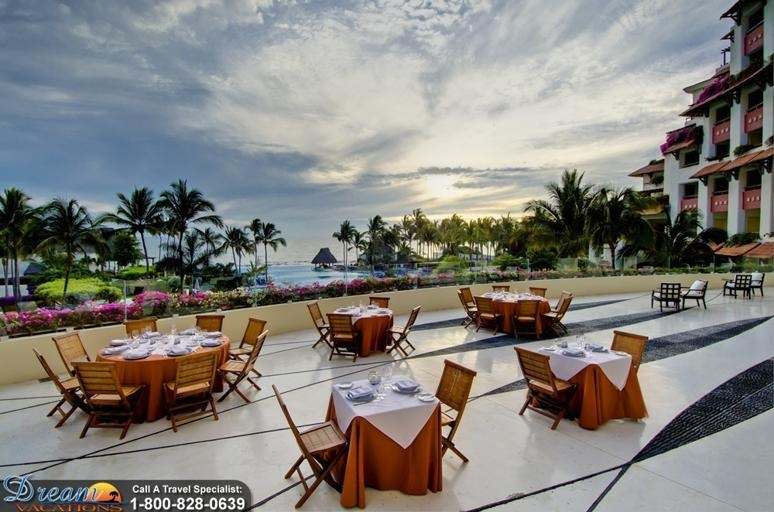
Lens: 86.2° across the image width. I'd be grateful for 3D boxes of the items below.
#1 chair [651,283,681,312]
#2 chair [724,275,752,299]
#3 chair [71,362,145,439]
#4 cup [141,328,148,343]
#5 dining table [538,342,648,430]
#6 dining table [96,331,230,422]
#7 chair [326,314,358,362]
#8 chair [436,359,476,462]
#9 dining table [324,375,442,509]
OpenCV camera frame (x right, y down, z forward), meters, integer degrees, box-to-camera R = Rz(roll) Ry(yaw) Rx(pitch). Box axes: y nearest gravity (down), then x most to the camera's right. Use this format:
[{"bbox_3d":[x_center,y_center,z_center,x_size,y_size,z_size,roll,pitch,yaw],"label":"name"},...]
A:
[{"bbox_3d":[12.580,1.922,18.649,1.196,1.493,1.121,0,3,17],"label":"chair"},{"bbox_3d":[17.706,1.620,20.863,1.120,1.263,0.993,-1,6,14],"label":"chair"},{"bbox_3d":[-6.766,3.437,10.004,1.371,1.863,0.631,0,14,1],"label":"chair"},{"bbox_3d":[-6.870,2.270,11.705,0.192,0.289,0.197,-1,-7,0],"label":"cup"},{"bbox_3d":[5.186,3.310,10.366,1.867,1.406,2.036,-8,8,-29],"label":"dining table"},{"bbox_3d":[-5.664,3.059,10.815,2.251,1.109,2.189,4,3,-7],"label":"dining table"},{"bbox_3d":[-1.414,2.569,13.219,0.934,1.417,0.798,0,13,-2],"label":"chair"},{"bbox_3d":[1.558,3.540,9.606,0.825,2.130,1.634,2,13,9],"label":"chair"},{"bbox_3d":[-0.162,4.174,9.660,2.258,1.536,2.228,-1,2,-15],"label":"dining table"}]
